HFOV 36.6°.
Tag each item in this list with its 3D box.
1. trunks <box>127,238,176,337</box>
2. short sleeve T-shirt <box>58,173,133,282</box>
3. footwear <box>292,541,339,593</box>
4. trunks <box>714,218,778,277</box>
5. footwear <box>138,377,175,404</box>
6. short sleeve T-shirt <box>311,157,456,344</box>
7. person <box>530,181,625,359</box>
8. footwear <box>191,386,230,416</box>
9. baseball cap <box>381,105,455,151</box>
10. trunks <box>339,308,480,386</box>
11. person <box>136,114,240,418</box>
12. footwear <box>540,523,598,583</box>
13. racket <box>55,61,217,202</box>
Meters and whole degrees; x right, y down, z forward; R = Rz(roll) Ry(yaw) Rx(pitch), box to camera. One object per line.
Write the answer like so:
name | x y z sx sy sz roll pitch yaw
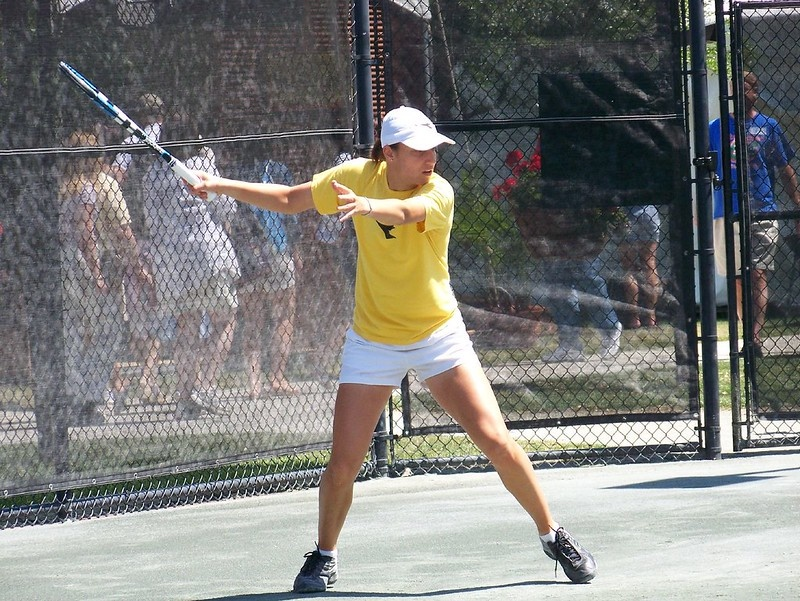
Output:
trunks | -1.613 -0.074 7.778 0.306 0.584 0.133 -3 12 -23
short sleeve T-shirt | -1.873 -0.452 7.509 0.438 0.624 0.078 -12 13 -40
footwear | -0.424 1.380 6.123 0.116 0.151 0.324 -2 -5 14
trunks | 2.476 -0.365 8.492 0.257 0.469 0.421 6 -17 9
footwear | -1.564 0.570 7.716 0.162 0.171 0.014 -14 -25 -39
short sleeve T-shirt | 0.023 -0.221 6.238 0.706 0.965 0.871 -3 -7 20
person | 1.210 -0.171 8.330 0.712 1.435 0.512 -10 -43 14
footwear | -1.204 0.657 7.740 0.198 0.145 0.061 -4 3 -18
baseball cap | 0.083 -0.851 6.021 0.302 0.170 0.210 -3 5 30
trunks | 0.027 0.250 6.212 0.617 0.373 0.287 -2 -1 -9
person | -1.433 -0.018 8.100 0.507 1.781 0.559 -1 -31 -25
footwear | 0.846 1.263 6.137 0.176 0.183 0.403 -22 24 -17
racket | -1.639 -1.059 7.369 1.300 0.115 0.189 40 8 9
